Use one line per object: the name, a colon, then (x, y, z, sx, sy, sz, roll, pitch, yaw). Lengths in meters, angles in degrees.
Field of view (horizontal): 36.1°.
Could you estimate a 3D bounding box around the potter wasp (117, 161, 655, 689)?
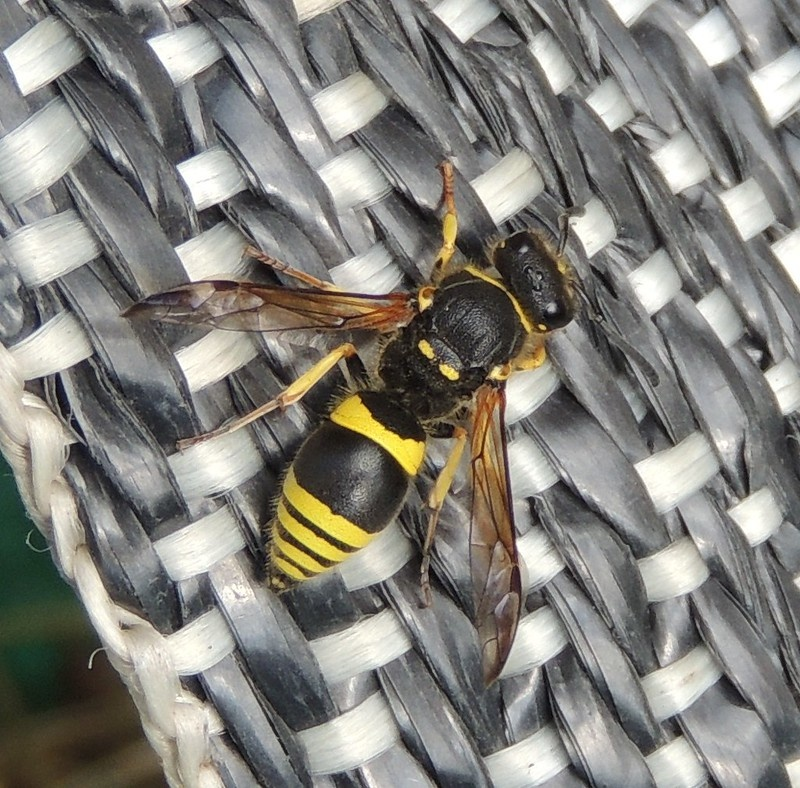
potter wasp: (0.020, 0.020, 1.131, 0.474, 0.138, 0.412, 36, 101, 11)
